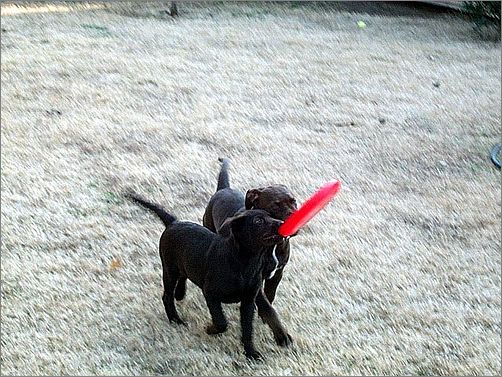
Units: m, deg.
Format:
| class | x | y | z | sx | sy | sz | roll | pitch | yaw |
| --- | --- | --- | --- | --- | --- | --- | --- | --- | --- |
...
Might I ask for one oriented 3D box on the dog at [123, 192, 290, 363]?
| class | x | y | z | sx | sy | sz | roll | pitch | yaw |
| --- | --- | --- | --- | --- | --- | --- | --- | --- | --- |
| dog | -0.242 | 0.686 | 5.838 | 1.126 | 1.167 | 0.502 | 13 | 34 | 27 |
